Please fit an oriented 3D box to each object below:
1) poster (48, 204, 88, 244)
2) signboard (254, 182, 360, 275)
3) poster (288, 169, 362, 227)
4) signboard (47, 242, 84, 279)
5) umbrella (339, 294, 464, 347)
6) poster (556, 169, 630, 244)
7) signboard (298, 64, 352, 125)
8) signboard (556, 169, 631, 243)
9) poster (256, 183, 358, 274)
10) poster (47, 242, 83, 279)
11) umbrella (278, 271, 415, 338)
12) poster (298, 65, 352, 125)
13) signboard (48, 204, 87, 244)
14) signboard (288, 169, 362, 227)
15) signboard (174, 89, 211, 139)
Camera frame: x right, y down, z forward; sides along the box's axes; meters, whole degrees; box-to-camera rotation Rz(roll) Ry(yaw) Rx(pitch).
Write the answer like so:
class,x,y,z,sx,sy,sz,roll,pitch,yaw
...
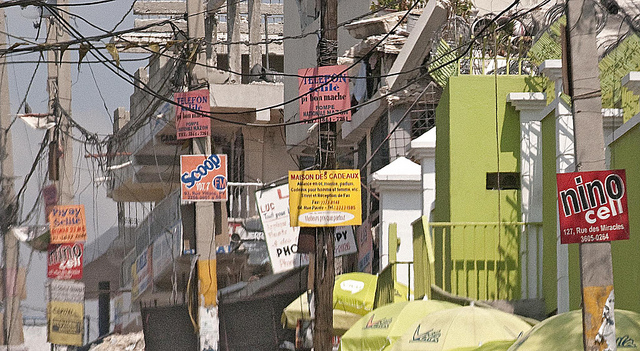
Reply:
class,x,y,z,sx,sy,sz,roll,pitch,yaw
poster,-10.559,2.031,67.611,1.944,1.695,0.190,-4,-4,25
signboard,-0.364,1.888,58.600,4.174,3.434,0.378,-6,-17,-19
poster,0.196,0.804,56.051,2.210,1.594,0.218,1,-5,-4
signboard,-10.832,3.648,68.608,1.965,1.566,0.191,-5,-10,31
umbrella,2.878,4.949,54.182,2.513,0.859,2.469,-25,-24,26
poster,8.558,0.999,50.268,2.676,2.343,0.253,-6,5,-25
signboard,0.175,-2.831,56.405,2.754,2.535,0.132,-2,-4,4
signboard,8.655,0.937,50.204,0.195,2.254,2.625,2,-8,-45
poster,-0.410,1.840,58.305,3.683,3.007,0.340,-12,-12,1
poster,-10.857,3.671,68.667,1.935,1.599,0.223,-6,-9,29
umbrella,1.469,4.574,59.295,3.578,1.136,3.149,-1,-17,-6
poster,0.173,-2.825,56.359,2.607,2.543,0.128,-1,1,7
signboard,-10.590,2.078,67.635,1.913,1.661,0.190,-5,-6,24
signboard,0.208,0.802,56.050,2.213,1.531,0.217,1,-4,-4
signboard,-4.832,-2.345,60.793,1.568,1.863,0.064,-6,5,-36
